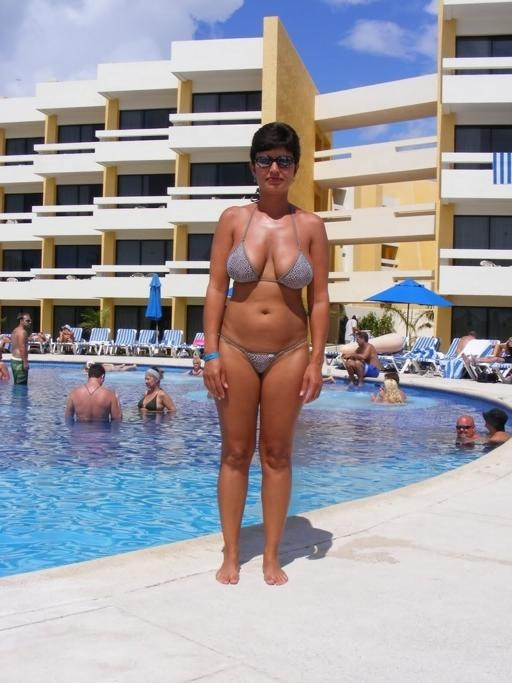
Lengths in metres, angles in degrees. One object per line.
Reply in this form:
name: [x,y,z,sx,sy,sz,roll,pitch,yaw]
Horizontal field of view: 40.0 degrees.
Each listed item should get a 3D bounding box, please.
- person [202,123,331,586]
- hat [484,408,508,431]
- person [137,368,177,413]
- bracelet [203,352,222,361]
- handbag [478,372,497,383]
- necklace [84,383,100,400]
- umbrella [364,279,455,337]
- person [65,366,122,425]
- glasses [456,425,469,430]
person: [0.051,0.011,2.971,0.548,1.905,0.362,-2,-3,1]
hat: [2.742,0.907,8.068,0.242,0.250,0.305,-3,-3,16]
person: [-1.577,0.740,10.570,0.455,0.664,0.777,-7,6,-37]
bracelet: [-0.184,0.065,2.924,0.063,0.038,0.033,-2,-3,8]
handbag: [5.341,0.829,16.160,0.304,0.256,0.298,5,-7,-29]
necklace: [-2.138,0.645,9.151,0.181,0.164,0.146,9,-45,-5]
umbrella: [4.635,-0.972,21.387,2.754,1.823,2.706,-1,9,-15]
person: [-2.172,0.676,9.017,0.726,0.754,0.708,-2,-3,6]
glasses: [2.442,1.027,8.337,0.059,0.068,0.192,-1,-3,-13]
